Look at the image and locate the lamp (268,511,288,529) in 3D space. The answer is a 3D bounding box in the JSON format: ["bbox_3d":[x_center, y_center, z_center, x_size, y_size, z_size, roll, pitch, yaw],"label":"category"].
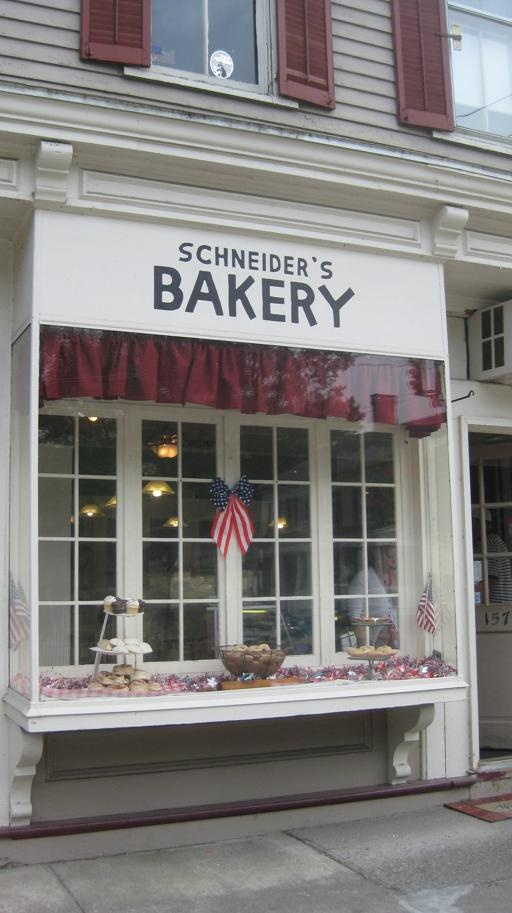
[{"bbox_3d":[0.151,0.451,7.037,0.143,0.082,0.031,0,3,-38],"label":"lamp"}]

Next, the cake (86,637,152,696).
[{"bbox_3d":[-0.784,1.216,6.127,0.269,0.276,0.278,-2,-5,20],"label":"cake"}]

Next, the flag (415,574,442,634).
[{"bbox_3d":[1.134,0.973,6.921,0.076,0.362,0.171,0,2,-28],"label":"flag"}]

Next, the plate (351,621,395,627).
[{"bbox_3d":[0.778,1.115,7.043,0.263,0.053,0.044,2,2,-2],"label":"plate"}]

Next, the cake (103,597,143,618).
[{"bbox_3d":[-0.765,0.908,6.368,0.305,0.138,0.118,-1,3,-43],"label":"cake"}]

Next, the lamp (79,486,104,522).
[{"bbox_3d":[-1.002,0.293,6.425,0.161,0.195,0.173,0,-17,0],"label":"lamp"}]
